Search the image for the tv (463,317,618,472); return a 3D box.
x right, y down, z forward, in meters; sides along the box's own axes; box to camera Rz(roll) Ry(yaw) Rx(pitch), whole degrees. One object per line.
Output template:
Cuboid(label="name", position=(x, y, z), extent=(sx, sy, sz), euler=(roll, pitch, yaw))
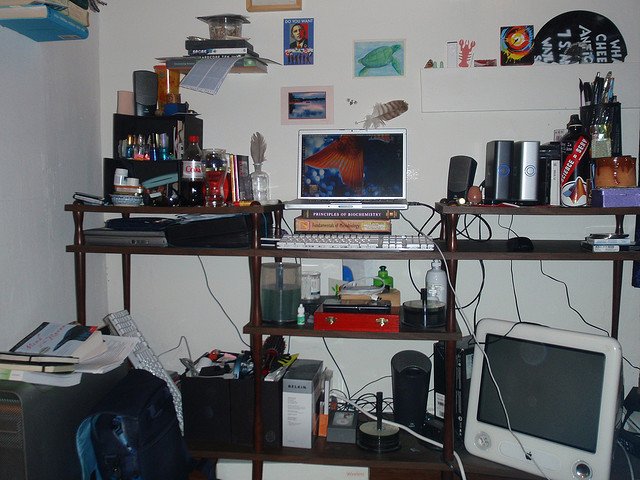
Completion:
Cuboid(label="tv", position=(1.033, 0.752, 3.146), extent=(0.635, 0.656, 0.349), euler=(9, 4, 28))

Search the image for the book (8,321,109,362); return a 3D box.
Cuboid(label="book", position=(-1.185, 0.466, 3.096), extent=(0.236, 0.058, 0.232), euler=(2, 8, 7))

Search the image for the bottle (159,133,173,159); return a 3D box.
Cuboid(label="bottle", position=(-0.845, -0.510, 3.659), extent=(0.070, 0.132, 0.043), euler=(-2, 7, -14))

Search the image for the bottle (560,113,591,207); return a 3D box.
Cuboid(label="bottle", position=(1.238, -0.340, 3.240), extent=(0.148, 0.347, 0.123), euler=(2, 7, 18))

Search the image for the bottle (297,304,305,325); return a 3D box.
Cuboid(label="bottle", position=(-0.097, 0.371, 3.330), extent=(0.040, 0.092, 0.031), euler=(2, 7, 14))

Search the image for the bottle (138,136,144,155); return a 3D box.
Cuboid(label="bottle", position=(-0.977, -0.515, 3.647), extent=(0.028, 0.098, 0.030), euler=(0, 7, 0))

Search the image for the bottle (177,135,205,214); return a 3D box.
Cuboid(label="bottle", position=(-0.667, -0.341, 3.439), extent=(0.136, 0.383, 0.429), euler=(-1, 7, -12))

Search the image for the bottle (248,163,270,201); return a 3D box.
Cuboid(label="bottle", position=(-0.334, -0.319, 3.661), extent=(0.109, 0.198, 0.226), euler=(0, 7, -3))

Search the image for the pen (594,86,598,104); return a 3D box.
Cuboid(label="pen", position=(1.401, -0.729, 3.398), extent=(0.014, 0.071, 0.027), euler=(2, 7, 18))

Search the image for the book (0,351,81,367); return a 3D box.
Cuboid(label="book", position=(-1.234, 0.522, 2.927), extent=(0.327, 0.056, 0.071), euler=(0, 7, -4))

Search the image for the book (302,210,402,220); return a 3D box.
Cuboid(label="book", position=(0.150, -0.130, 3.378), extent=(0.480, 0.045, 0.040), euler=(0, 7, 1))

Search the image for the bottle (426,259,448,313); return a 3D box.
Cuboid(label="bottle", position=(0.588, 0.225, 3.366), extent=(0.095, 0.243, 0.165), euler=(1, 7, 9))

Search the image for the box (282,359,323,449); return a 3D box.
Cuboid(label="box", position=(-0.096, 0.850, 3.444), extent=(0.169, 0.361, 0.207), euler=(3, 6, 4))

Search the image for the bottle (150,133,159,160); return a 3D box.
Cuboid(label="bottle", position=(-0.910, -0.506, 3.649), extent=(0.040, 0.132, 0.064), euler=(-6, 9, -40))

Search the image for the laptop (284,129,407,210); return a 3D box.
Cuboid(label="laptop", position=(0.142, -0.363, 3.346), extent=(0.582, 0.402, 0.344), euler=(0, 6, 5))

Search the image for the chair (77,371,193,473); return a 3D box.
Cuboid(label="chair", position=(-0.856, 0.850, 3.303), extent=(0.368, 0.691, 0.528), euler=(-5, 9, 4))

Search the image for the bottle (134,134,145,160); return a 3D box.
Cuboid(label="bottle", position=(-0.986, -0.502, 3.647), extent=(0.055, 0.125, 0.045), euler=(-2, 7, -16))

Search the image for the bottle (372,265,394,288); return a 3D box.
Cuboid(label="bottle", position=(0.334, 0.194, 3.557), extent=(0.105, 0.183, 0.109), euler=(1, -1, 0))
